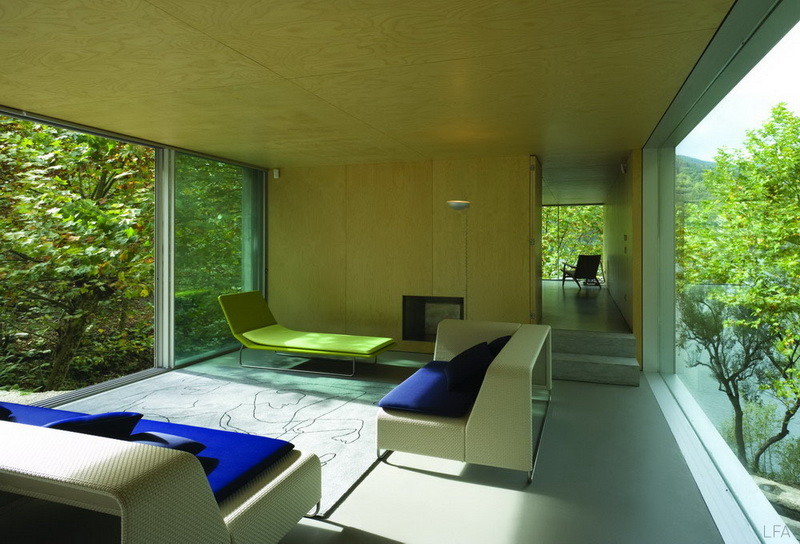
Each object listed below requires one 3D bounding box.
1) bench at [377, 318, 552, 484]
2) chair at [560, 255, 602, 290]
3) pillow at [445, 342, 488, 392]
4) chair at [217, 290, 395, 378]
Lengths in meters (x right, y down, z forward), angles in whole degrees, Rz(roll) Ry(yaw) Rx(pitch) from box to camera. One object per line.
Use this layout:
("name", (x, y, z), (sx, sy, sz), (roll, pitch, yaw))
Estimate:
("bench", (0.728, 1.093, 5.961), (1.405, 1.068, 2.072), (-2, 1, 15))
("chair", (4.332, 0.010, 13.985), (0.890, 0.879, 1.136), (2, -2, 4))
("pillow", (0.609, 0.822, 5.298), (0.385, 0.165, 0.344), (-26, 26, 22))
("chair", (-1.233, 0.742, 7.859), (2.173, 0.827, 1.054), (0, 1, 22))
